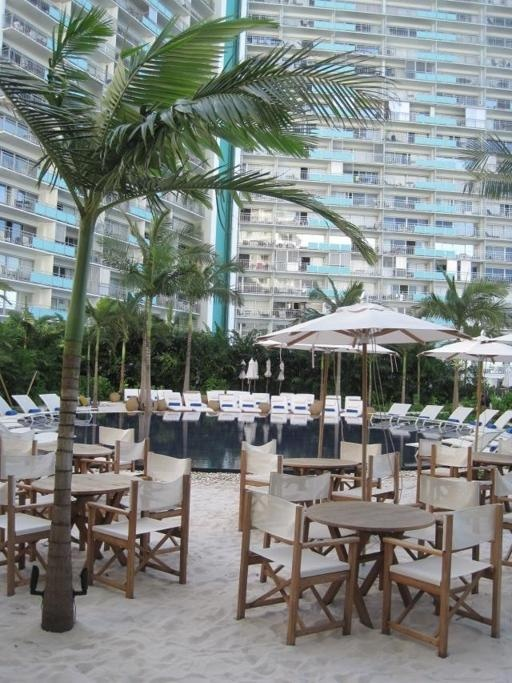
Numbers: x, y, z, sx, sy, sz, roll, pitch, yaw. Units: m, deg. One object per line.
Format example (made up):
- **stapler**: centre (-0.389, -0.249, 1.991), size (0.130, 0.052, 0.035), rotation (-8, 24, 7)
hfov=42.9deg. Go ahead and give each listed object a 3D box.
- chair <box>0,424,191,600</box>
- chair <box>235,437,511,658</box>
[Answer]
- **chair**: centre (-1.217, 1.325, 5.442), size (1.215, 0.618, 1.241), rotation (-1, -1, 35)
- **chair**: centre (0.865, 1.379, 4.529), size (1.310, 0.634, 1.287), rotation (1, -2, -37)
